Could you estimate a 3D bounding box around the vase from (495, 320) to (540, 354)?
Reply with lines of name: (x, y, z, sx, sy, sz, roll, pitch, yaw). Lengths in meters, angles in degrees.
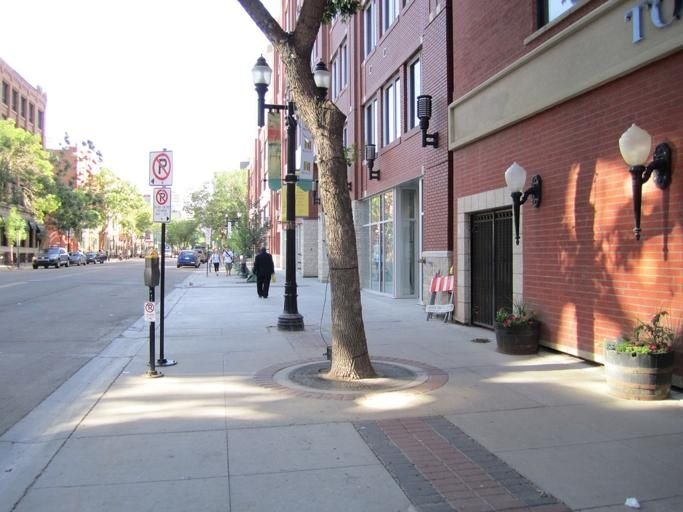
vase: (3.151, 1.469, 9.994, 0.567, 0.404, 0.599, 2, -9, -9)

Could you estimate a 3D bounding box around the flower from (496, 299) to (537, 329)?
flower: (3.175, 1.066, 10.340, 0.438, 0.341, 0.552, 0, 0, -2)

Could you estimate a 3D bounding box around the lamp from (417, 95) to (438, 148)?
lamp: (2.245, -3.548, 14.660, 0.518, 1.418, 0.747, 0, 4, 2)

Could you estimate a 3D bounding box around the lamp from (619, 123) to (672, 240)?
lamp: (4.240, -1.042, 7.884, 0.659, 1.599, 0.452, 1, 4, 16)

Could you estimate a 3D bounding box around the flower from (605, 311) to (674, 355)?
flower: (4.078, 1.037, 7.651, 0.735, 0.386, 0.550, -7, -2, 36)

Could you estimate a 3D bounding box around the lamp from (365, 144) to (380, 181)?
lamp: (1.125, -3.472, 20.711, 0.511, 1.321, 0.882, 0, 4, -2)

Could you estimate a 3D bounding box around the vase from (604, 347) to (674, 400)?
vase: (4.048, 1.603, 7.652, 0.941, 0.630, 0.993, 0, -3, 9)

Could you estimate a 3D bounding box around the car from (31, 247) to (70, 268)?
car: (-25.245, 0.053, 48.842, 1.605, 1.413, 3.644, -1, -5, -8)

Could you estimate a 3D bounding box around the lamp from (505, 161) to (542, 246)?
lamp: (3.443, -0.995, 10.605, 0.650, 1.521, 0.651, 1, 4, 17)
